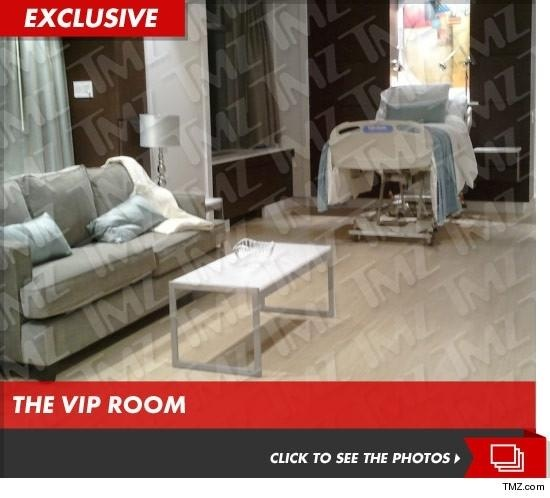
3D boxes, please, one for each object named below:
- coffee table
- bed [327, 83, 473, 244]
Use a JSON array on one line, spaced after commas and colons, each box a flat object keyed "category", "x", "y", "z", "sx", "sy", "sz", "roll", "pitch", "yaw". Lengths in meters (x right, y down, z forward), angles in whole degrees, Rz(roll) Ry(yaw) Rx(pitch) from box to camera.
[{"category": "coffee table", "x": -0.061, "y": 0.195, "z": 2.019, "sx": 0.419, "sy": 0.396, "sz": 0.798, "roll": 5, "pitch": 14, "yaw": 25}, {"category": "bed", "x": 1.142, "y": -0.753, "z": 4.121, "sx": 0.923, "sy": 1.195, "sz": 1.607, "roll": 2, "pitch": 18, "yaw": 22}]
